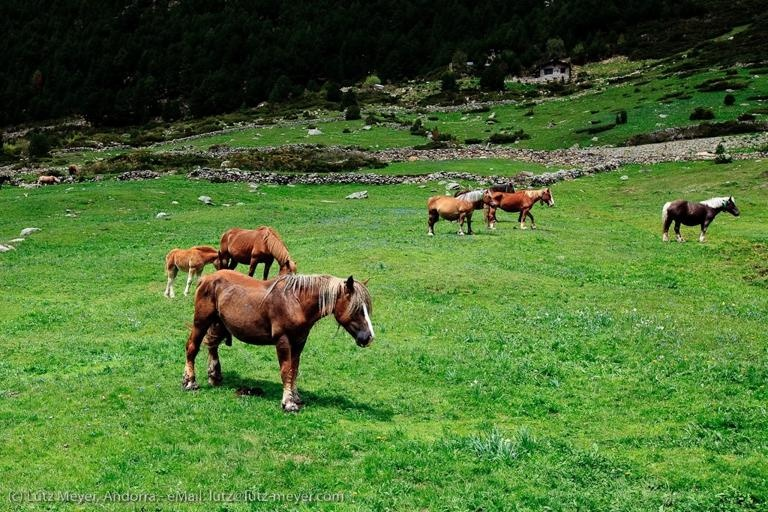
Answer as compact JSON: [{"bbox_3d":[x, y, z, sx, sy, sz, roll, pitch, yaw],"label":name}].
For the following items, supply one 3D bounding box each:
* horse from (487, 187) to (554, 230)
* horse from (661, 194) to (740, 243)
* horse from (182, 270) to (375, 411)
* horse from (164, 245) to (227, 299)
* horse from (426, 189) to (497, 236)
[{"bbox_3d":[12.224,-4.379,73.624,6.107,3.249,3.903,-11,17,-35],"label":"horse"},{"bbox_3d":[26.530,-3.063,68.079,6.157,3.760,1.690,1,-5,4],"label":"horse"},{"bbox_3d":[-6.854,4.862,49.543,11.003,7.808,2.255,0,15,5],"label":"horse"},{"bbox_3d":[-14.368,1.161,60.201,5.520,3.982,1.366,3,-5,24],"label":"horse"},{"bbox_3d":[6.288,-3.922,71.239,5.534,3.835,3.351,-5,15,-15],"label":"horse"}]
